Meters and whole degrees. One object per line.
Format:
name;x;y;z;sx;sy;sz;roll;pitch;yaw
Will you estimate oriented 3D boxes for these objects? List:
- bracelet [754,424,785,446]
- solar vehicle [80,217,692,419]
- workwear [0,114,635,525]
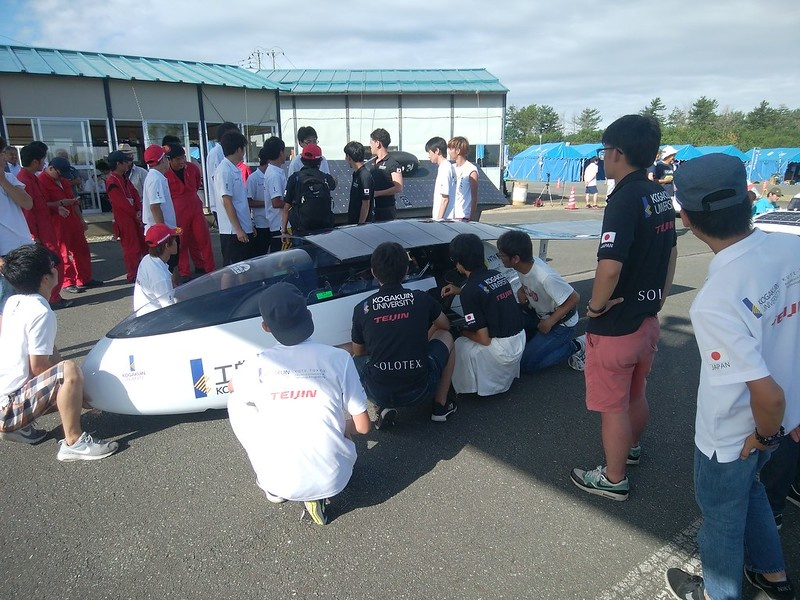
bracelet;1.639;0.597;2.566;0.106;0.100;0.036;-19;14;-4
solar vehicle;-0.268;0.058;5.090;4.867;1.459;1.386;-8;17;-24
workwear;-0.288;0.041;5.265;5.238;1.878;1.569;-4;9;-24
